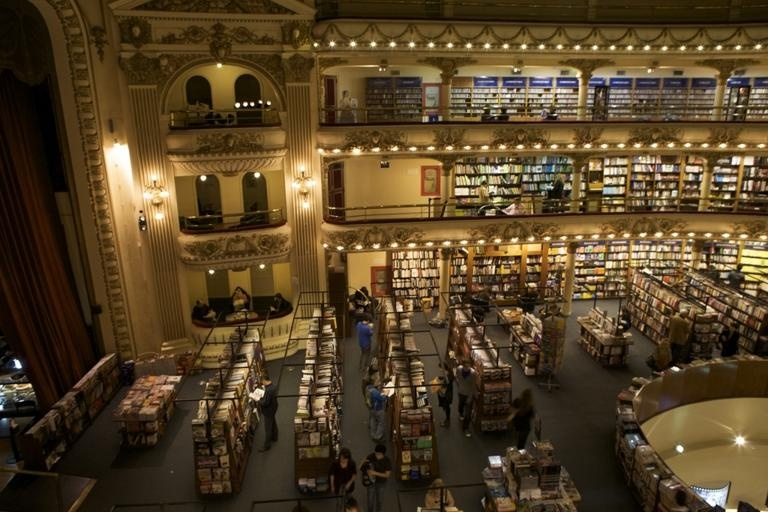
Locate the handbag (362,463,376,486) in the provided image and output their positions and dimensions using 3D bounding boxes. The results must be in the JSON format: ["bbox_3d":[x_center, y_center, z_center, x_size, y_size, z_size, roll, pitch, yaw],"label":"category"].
[{"bbox_3d":[-0.397,4.919,11.763,0.291,0.574,0.174,0,4,10],"label":"handbag"}]

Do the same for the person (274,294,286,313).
[{"bbox_3d":[-3.629,1.672,18.077,0.423,0.753,0.538,2,8,10],"label":"person"}]

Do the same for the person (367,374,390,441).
[{"bbox_3d":[-0.221,4.056,13.790,0.469,1.822,0.959,-1,4,-5],"label":"person"}]
